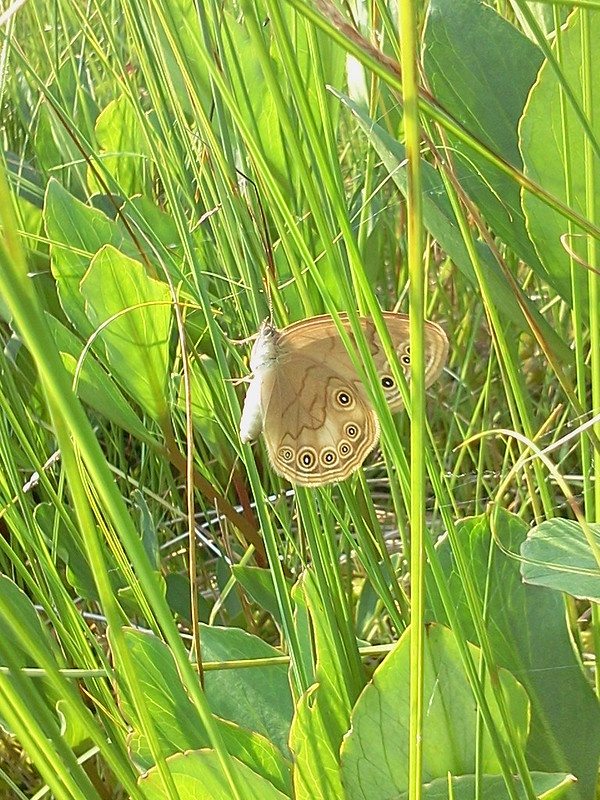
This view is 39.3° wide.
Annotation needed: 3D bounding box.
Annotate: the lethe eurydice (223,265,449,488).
[{"bbox_3d":[0.029,-0.023,1.180,0.203,0.199,0.352,-34,3,1],"label":"lethe eurydice"}]
